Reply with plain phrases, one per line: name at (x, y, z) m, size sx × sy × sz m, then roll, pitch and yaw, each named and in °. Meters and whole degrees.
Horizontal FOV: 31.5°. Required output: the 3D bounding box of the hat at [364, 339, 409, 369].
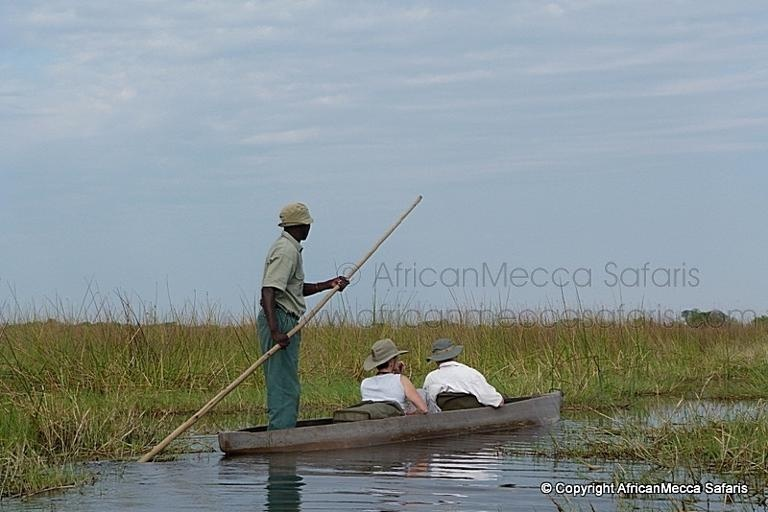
hat at (0.034, 1.597, 22.517) m, size 0.596 × 0.266 × 0.511 m, roll -19°, pitch 7°, yaw -37°

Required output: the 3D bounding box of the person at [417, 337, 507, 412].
person at (1.311, 1.966, 23.365) m, size 1.004 × 1.327 × 1.342 m, roll -3°, pitch 11°, yaw 30°

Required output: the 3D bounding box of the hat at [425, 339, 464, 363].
hat at (0.958, 1.683, 23.268) m, size 0.463 × 0.202 × 0.497 m, roll -34°, pitch 14°, yaw -29°

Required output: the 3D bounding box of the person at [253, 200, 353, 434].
person at (-1.630, 0.966, 21.648) m, size 0.605 × 3.506 × 0.838 m, roll 2°, pitch 8°, yaw 14°
